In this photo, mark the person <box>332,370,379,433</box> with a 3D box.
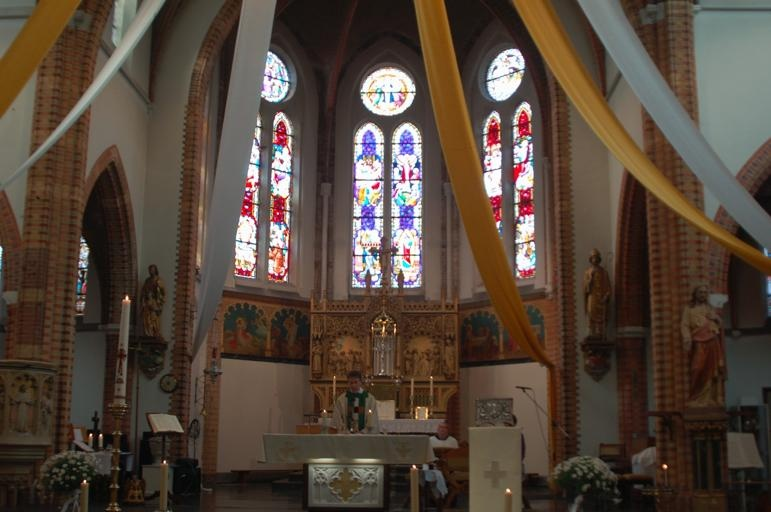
[{"bbox_3d":[-0.458,2.259,14.378,0.741,1.044,0.559,-1,-13,6],"label":"person"}]

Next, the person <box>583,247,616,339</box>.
[{"bbox_3d":[4.241,0.762,18.877,0.552,1.779,0.433,-5,-17,14],"label":"person"}]

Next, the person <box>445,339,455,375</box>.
[{"bbox_3d":[1.522,2.295,21.884,0.256,0.869,0.088,-2,-17,4],"label":"person"}]

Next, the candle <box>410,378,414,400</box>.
[{"bbox_3d":[0.615,3.039,21.676,0.092,0.461,0.113,-1,-17,1],"label":"candle"}]

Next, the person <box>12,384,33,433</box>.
[{"bbox_3d":[-5.861,2.448,15.282,0.291,0.742,0.314,5,-18,-18],"label":"person"}]

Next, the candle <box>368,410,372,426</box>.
[{"bbox_3d":[-0.238,2.410,14.270,0.069,0.201,0.056,0,-17,-3],"label":"candle"}]

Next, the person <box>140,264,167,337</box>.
[{"bbox_3d":[-4.715,0.890,19.127,0.512,1.518,0.328,4,-17,-15],"label":"person"}]

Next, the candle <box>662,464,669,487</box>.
[{"bbox_3d":[4.587,3.545,15.467,0.111,0.378,0.304,-7,-18,19],"label":"candle"}]
